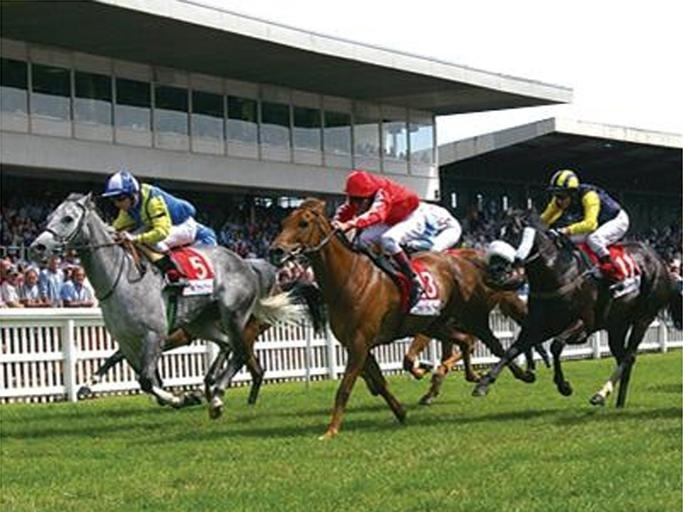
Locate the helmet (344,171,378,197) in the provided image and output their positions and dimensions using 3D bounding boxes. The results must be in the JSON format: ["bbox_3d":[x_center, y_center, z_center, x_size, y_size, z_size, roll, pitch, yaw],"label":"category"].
[{"bbox_3d":[0.181,-0.718,9.369,0.337,0.266,0.231,-2,5,3],"label":"helmet"}]

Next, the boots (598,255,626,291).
[{"bbox_3d":[2.820,0.180,9.944,0.235,0.391,0.140,-20,-6,-26],"label":"boots"}]

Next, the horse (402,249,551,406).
[{"bbox_3d":[1.666,0.936,11.585,2.115,1.501,0.496,-5,-1,-28],"label":"horse"}]

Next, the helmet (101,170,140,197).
[{"bbox_3d":[-2.319,-0.738,9.819,0.302,0.288,0.444,-4,-3,34],"label":"helmet"}]
